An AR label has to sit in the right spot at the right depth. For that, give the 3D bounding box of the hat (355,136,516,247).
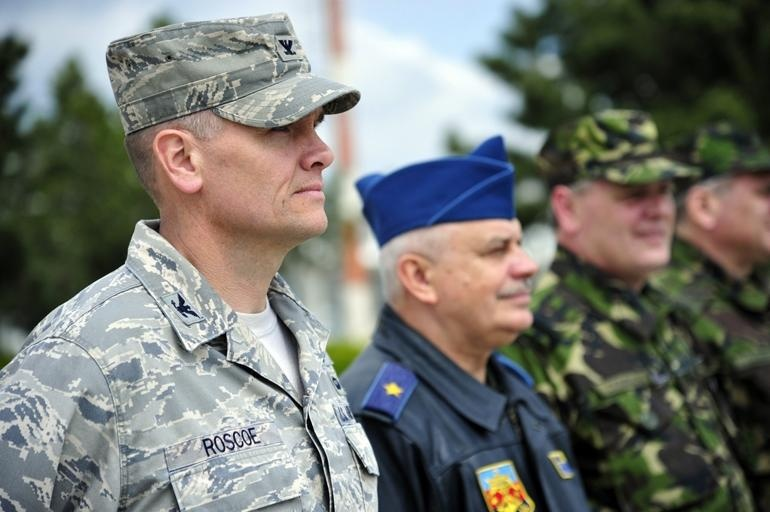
[{"bbox_3d":[0.304,-0.370,7.752,0.780,0.419,0.558,-9,-1,26],"label":"hat"}]
